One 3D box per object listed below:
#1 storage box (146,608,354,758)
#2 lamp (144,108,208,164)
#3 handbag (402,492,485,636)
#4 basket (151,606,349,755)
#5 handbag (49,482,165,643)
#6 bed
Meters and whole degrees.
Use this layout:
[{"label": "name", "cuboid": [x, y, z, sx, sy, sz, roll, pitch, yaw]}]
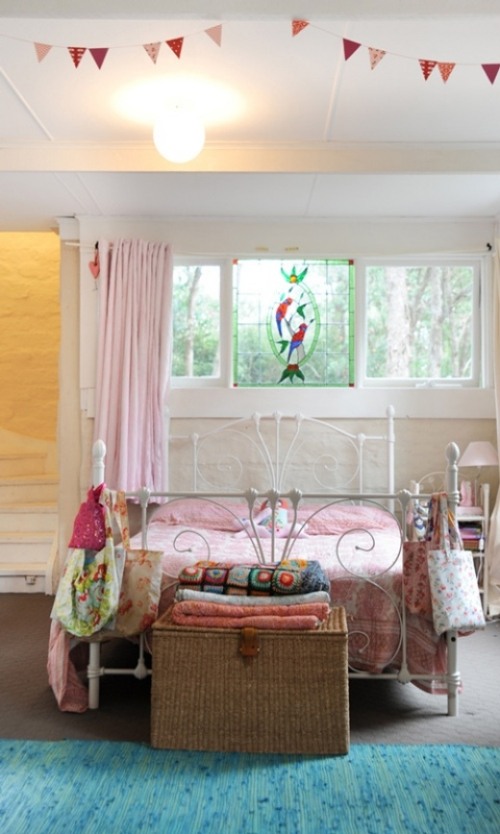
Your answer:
[{"label": "storage box", "cuboid": [0.002, 0.691, 1.884, 0.377, 0.245, 0.392, 0, -6, 3]}, {"label": "lamp", "cuboid": [-0.271, -1.046, 2.424, 0.178, 0.213, 0.185, 0, 37, 1]}, {"label": "handbag", "cuboid": [0.622, 0.459, 2.023, 0.221, 0.439, 0.183, 1, -2, -23]}, {"label": "basket", "cuboid": [0.009, 0.686, 1.887, 0.378, 0.245, 0.391, 0, -6, 3]}, {"label": "handbag", "cuboid": [-0.448, 0.454, 2.062, 0.338, 0.469, 0.254, 1, -2, -17]}, {"label": "bed", "cuboid": [0.164, 0.516, 2.645, 1.043, 0.774, 1.279, -1, -5, 8]}]
